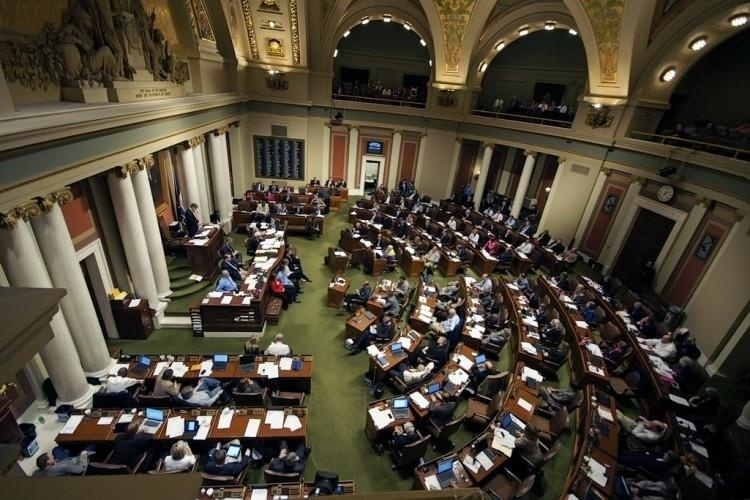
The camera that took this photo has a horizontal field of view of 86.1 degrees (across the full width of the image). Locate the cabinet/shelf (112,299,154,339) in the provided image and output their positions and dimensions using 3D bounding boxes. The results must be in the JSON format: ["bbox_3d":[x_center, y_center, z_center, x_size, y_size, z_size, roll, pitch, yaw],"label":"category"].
[{"bbox_3d":[-8.666,2.453,14.392,1.118,1.711,0.924,0,23,-8],"label":"cabinet/shelf"}]

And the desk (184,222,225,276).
[{"bbox_3d":[-7.340,0.037,17.325,0.764,1.279,1.968,4,36,-4],"label":"desk"}]

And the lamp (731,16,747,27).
[{"bbox_3d":[14.122,-8.905,15.626,0.358,0.086,0.343,-22,-7,-5],"label":"lamp"}]

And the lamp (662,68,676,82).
[{"bbox_3d":[13.239,-7.905,18.199,0.443,0.459,0.135,-18,50,33],"label":"lamp"}]

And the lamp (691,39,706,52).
[{"bbox_3d":[13.680,-8.619,16.991,0.395,0.097,0.400,-16,-9,-3],"label":"lamp"}]

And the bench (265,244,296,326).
[{"bbox_3d":[-3.872,1.556,16.627,0.628,0.789,3.262,6,37,-4],"label":"bench"}]

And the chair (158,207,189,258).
[{"bbox_3d":[-8.864,-0.726,17.854,1.360,2.053,1.231,1,55,-12],"label":"chair"}]

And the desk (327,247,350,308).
[{"bbox_3d":[-1.609,1.277,17.925,0.724,0.935,2.548,3,37,-4],"label":"desk"}]
